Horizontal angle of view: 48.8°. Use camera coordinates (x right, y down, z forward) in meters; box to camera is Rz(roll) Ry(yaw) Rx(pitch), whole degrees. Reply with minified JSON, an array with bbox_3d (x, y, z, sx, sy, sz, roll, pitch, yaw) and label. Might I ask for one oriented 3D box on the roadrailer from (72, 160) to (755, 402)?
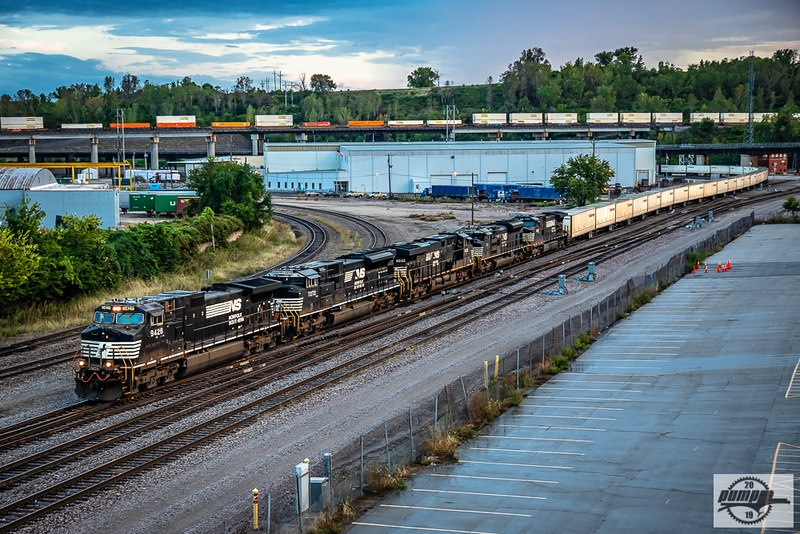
[{"bbox_3d":[15.876,-4.799,89.061,8.030,5.664,109.888,2,12,38],"label":"roadrailer"}]
